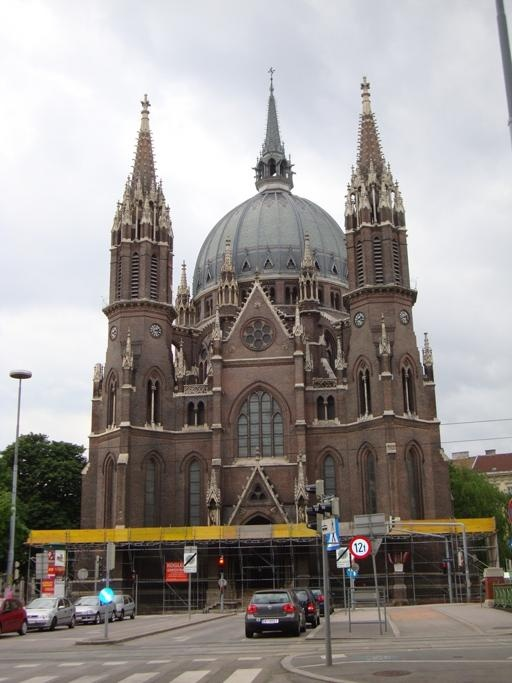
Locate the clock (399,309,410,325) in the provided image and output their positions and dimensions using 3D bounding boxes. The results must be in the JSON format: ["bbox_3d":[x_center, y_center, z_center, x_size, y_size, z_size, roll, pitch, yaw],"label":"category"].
[{"bbox_3d":[11.312,-1.866,57.404,0.076,1.008,1.020,-17,3,44],"label":"clock"}]

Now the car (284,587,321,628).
[{"bbox_3d":[1.568,9.609,26.565,1.465,1.317,2.976,-2,-6,6],"label":"car"}]

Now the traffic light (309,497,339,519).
[{"bbox_3d":[1.357,3.295,14.779,0.618,0.374,0.589,-3,-12,5],"label":"traffic light"}]

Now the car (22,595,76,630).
[{"bbox_3d":[-8.116,10.699,29.235,1.201,0.838,2.333,-5,-28,2],"label":"car"}]

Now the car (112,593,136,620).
[{"bbox_3d":[-6.827,13.209,37.035,1.222,1.137,2.632,-3,-27,1],"label":"car"}]

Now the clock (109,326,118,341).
[{"bbox_3d":[-11.535,-0.665,60.149,0.105,1.285,1.137,12,-21,-41],"label":"clock"}]

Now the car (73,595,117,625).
[{"bbox_3d":[-7.472,12.160,33.490,1.277,1.138,1.747,2,-16,-14],"label":"car"}]

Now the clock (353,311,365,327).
[{"bbox_3d":[7.966,-1.698,57.668,0.139,1.017,1.014,7,-17,-30],"label":"clock"}]

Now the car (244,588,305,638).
[{"bbox_3d":[0.448,7.575,20.696,1.490,1.264,1.562,-2,-15,-1],"label":"car"}]
